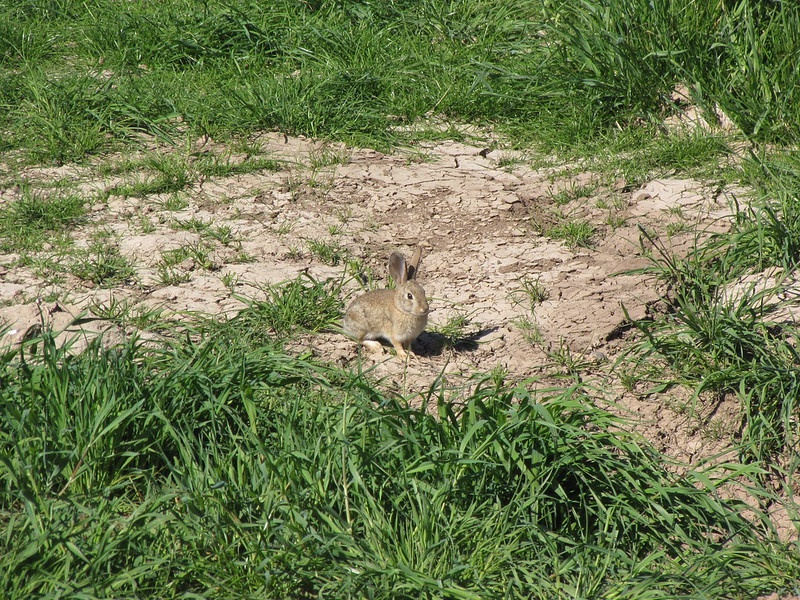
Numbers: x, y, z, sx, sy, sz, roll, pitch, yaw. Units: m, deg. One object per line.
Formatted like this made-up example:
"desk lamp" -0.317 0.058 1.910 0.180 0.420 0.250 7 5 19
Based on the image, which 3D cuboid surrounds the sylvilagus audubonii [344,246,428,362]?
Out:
"sylvilagus audubonii" -0.034 -0.002 5.492 0.414 0.709 0.770 -17 26 -41
